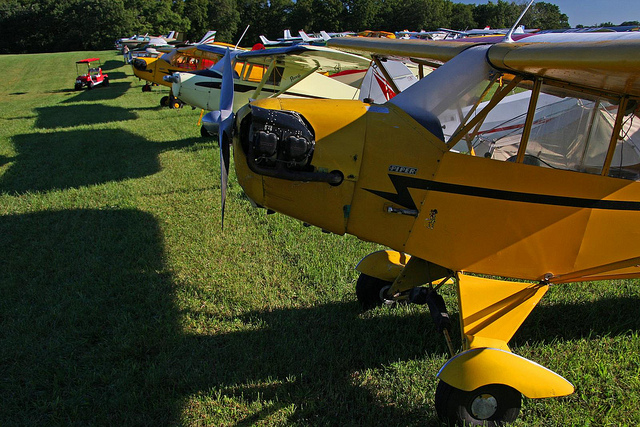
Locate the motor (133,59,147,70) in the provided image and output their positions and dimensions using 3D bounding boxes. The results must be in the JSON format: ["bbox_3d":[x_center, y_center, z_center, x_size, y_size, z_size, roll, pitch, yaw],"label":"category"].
[{"bbox_3d":[-7.846,-6.548,20.472,0.337,0.456,0.174,11,60,-23],"label":"motor"}]

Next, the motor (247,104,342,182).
[{"bbox_3d":[-0.322,-0.751,5.097,0.938,0.684,0.419,4,24,-1],"label":"motor"}]

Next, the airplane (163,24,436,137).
[{"bbox_3d":[-1.385,-3.468,12.028,4.848,1.709,5.754,5,21,-15],"label":"airplane"}]

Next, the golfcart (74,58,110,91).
[{"bbox_3d":[-13.440,-8.104,27.245,1.319,1.455,1.916,3,23,10],"label":"golfcart"}]
